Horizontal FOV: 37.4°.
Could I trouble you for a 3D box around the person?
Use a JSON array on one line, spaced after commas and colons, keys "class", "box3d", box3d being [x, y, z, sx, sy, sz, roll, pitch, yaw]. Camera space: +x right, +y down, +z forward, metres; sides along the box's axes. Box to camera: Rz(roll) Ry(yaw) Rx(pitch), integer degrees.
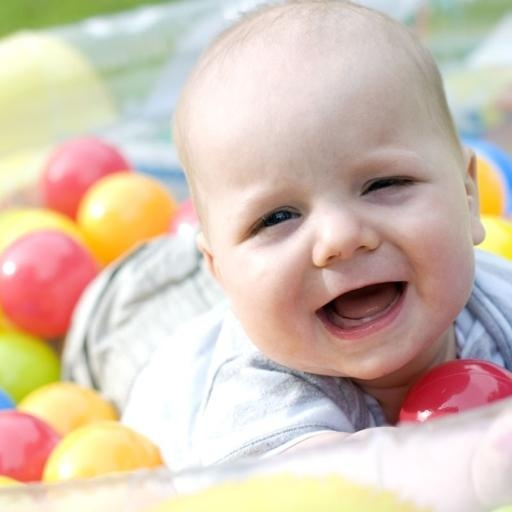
[{"class": "person", "box3d": [0.036, -0.011, 1.236, 0.568, 0.852, 0.463, -15, 85, -6]}]
